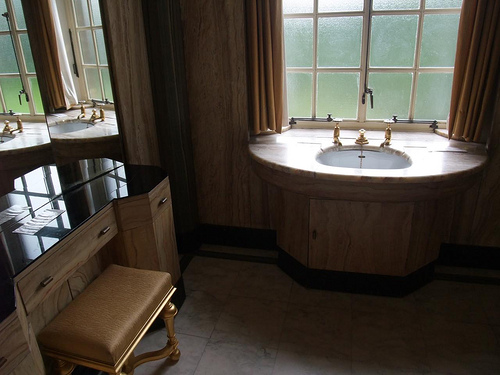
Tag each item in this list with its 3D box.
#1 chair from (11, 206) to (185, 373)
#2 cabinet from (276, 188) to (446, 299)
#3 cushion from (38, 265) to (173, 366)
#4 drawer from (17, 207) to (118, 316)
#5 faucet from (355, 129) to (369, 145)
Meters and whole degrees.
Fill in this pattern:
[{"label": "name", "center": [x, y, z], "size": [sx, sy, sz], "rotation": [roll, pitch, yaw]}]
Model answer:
[{"label": "chair", "center": [-0.828, 0.540, 1.980], "size": [0.435, 0.860, 0.643], "rotation": [6, 35, 10]}, {"label": "cabinet", "center": [0.848, 0.337, 2.966], "size": [1.205, 0.865, 0.715], "rotation": [-1, 9, 11]}, {"label": "cushion", "center": [-0.767, 0.664, 2.051], "size": [0.516, 0.132, 0.684], "rotation": [4, 23, 6]}, {"label": "drawer", "center": [-0.888, 0.373, 1.812], "size": [0.323, 0.132, 0.553], "rotation": [0, 27, 17]}, {"label": "faucet", "center": [0.874, -0.395, 2.919], "size": [0.093, 0.097, 0.097], "rotation": [5, 25, 16]}]
